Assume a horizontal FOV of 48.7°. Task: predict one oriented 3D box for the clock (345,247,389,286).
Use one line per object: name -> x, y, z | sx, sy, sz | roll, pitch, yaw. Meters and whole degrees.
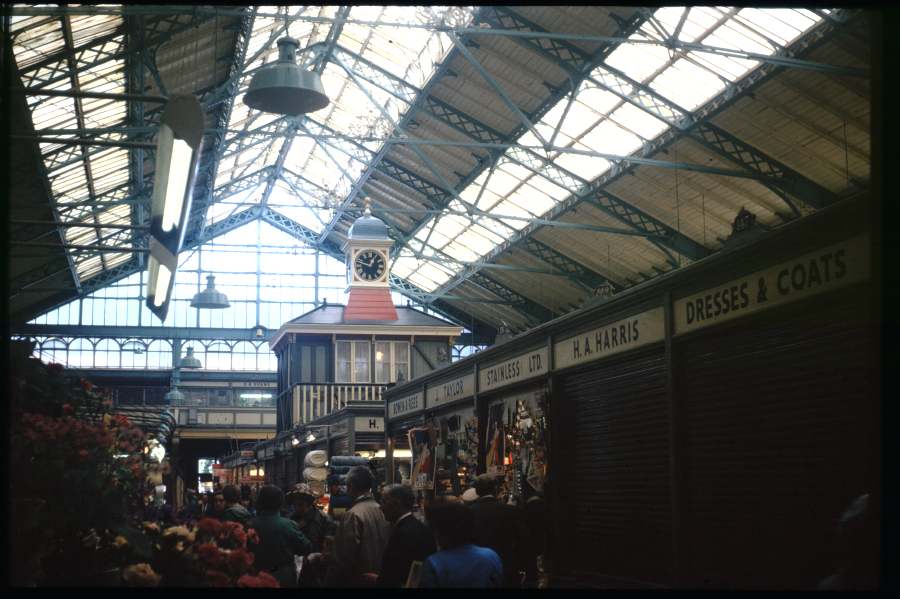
clock -> -3.190, -1.292, 38.777 | 1.396, 1.323, 0.498 | 2, -13, -9
